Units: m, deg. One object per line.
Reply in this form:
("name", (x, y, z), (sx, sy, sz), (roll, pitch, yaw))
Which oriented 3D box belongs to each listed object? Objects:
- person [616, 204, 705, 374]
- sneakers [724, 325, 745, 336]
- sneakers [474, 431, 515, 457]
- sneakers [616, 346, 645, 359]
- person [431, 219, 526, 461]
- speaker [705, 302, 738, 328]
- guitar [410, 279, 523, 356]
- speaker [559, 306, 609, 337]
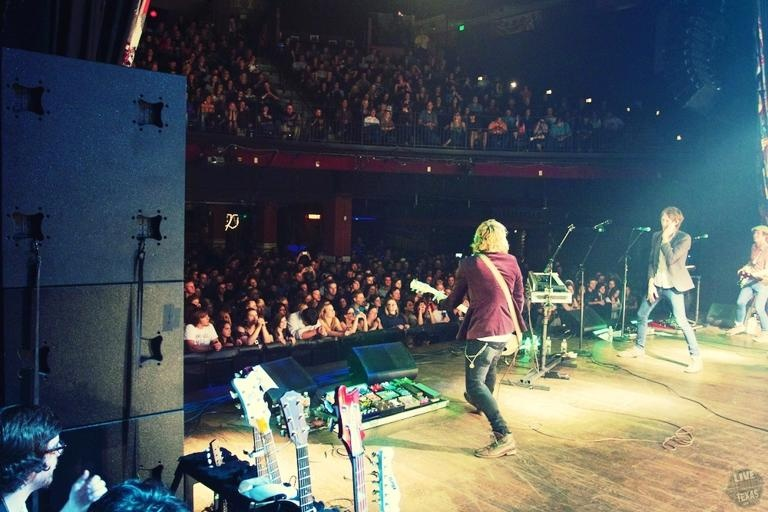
("person", (4.204, 0.484, 9.577), (0.518, 2.331, 1.085), (-12, 19, -42))
("sneakers", (6.386, 1.339, 11.721), (0.442, 0.184, 0.149), (-8, 2, -18))
("sneakers", (1.250, 2.084, 7.151), (0.459, 0.258, 0.208), (0, -7, -4))
("sneakers", (3.808, 1.506, 10.109), (0.495, 0.230, 0.180), (2, 0, 21))
("person", (1.214, 0.889, 7.211), (0.864, 2.428, 0.982), (-4, 15, -19))
("speaker", (6.504, 1.158, 12.447), (0.465, 0.460, 0.457), (-3, 5, -40))
("guitar", (1.054, 0.846, 8.448), (1.261, 0.507, 0.159), (30, -47, -25))
("speaker", (3.472, 1.134, 11.362), (0.618, 0.285, 0.618), (1, 19, -28))
